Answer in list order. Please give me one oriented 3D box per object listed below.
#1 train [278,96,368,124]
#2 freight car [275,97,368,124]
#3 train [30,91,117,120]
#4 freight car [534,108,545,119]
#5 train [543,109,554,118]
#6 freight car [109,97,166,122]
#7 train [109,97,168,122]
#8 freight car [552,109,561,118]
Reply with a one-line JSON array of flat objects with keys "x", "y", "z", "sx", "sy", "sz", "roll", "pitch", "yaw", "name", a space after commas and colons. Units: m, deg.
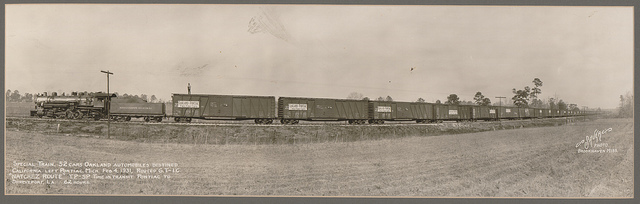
[{"x": 1.619, "y": 1.479, "z": 81.750, "sx": 18.226, "sy": 4.231, "sz": 3.084, "roll": 1, "pitch": -6, "yaw": 35, "name": "train"}, {"x": 0.279, "y": 1.477, "z": 80.926, "sx": 14.280, "sy": 4.177, "sz": 1.588, "roll": 1, "pitch": -7, "yaw": -6, "name": "freight car"}, {"x": -39.707, "y": 0.704, "z": 80.320, "sx": 11.087, "sy": 4.213, "sz": 1.294, "roll": 0, "pitch": -7, "yaw": 2, "name": "train"}, {"x": 40.830, "y": 2.036, "z": 93.631, "sx": 0.991, "sy": 1.708, "sz": 2.527, "roll": -6, "pitch": -8, "yaw": 43, "name": "freight car"}, {"x": 43.625, "y": 2.196, "z": 95.163, "sx": 1.930, "sy": 1.604, "sz": 2.989, "roll": 0, "pitch": 2, "yaw": 16, "name": "train"}, {"x": -29.332, "y": 1.191, "z": 80.230, "sx": 8.288, "sy": 3.841, "sz": 1.116, "roll": 0, "pitch": -7, "yaw": 4, "name": "freight car"}, {"x": -28.856, "y": 1.202, "z": 81.032, "sx": 10.695, "sy": 3.269, "sz": 2.565, "roll": 2, "pitch": 0, "yaw": 13, "name": "train"}, {"x": 44.585, "y": 2.032, "z": 95.160, "sx": 1.501, "sy": 1.275, "sz": 2.165, "roll": 0, "pitch": 2, "yaw": -12, "name": "freight car"}]
